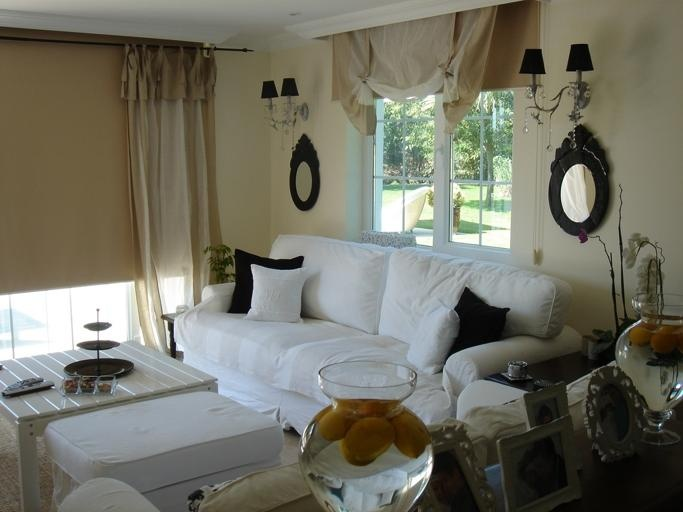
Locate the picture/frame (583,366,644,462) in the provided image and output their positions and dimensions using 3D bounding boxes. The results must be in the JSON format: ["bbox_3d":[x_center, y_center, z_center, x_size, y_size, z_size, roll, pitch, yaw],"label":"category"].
[{"bbox_3d":[0.821,0.481,1.647,0.232,0.258,0.016,-5,-9,-41],"label":"picture/frame"}]

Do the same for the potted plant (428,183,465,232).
[{"bbox_3d":[0.846,-0.404,4.521,0.115,0.385,0.402,-9,13,-27],"label":"potted plant"}]

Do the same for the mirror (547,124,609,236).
[{"bbox_3d":[1.474,-0.480,3.490,0.068,0.654,0.365,-3,11,-37],"label":"mirror"}]

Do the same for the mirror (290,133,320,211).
[{"bbox_3d":[-0.378,-0.828,5.520,0.039,0.801,0.512,5,9,32],"label":"mirror"}]

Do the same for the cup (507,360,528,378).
[{"bbox_3d":[0.924,0.587,2.878,0.078,0.066,0.083,1,3,0],"label":"cup"}]

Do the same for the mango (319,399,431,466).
[{"bbox_3d":[0.063,0.371,1.141,0.226,0.085,0.104,-4,12,-3],"label":"mango"}]

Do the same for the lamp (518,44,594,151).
[{"bbox_3d":[1.410,-1.045,3.550,0.338,0.726,0.607,-7,10,-43],"label":"lamp"}]

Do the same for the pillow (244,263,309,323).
[{"bbox_3d":[-0.546,0.329,4.453,0.469,0.504,0.186,4,-17,11],"label":"pillow"}]

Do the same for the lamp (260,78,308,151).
[{"bbox_3d":[-0.545,-1.411,5.493,0.322,0.712,0.481,-14,18,-39],"label":"lamp"}]

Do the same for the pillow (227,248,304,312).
[{"bbox_3d":[-0.606,0.156,4.825,0.763,0.644,0.434,2,6,23],"label":"pillow"}]

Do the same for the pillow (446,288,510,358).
[{"bbox_3d":[0.845,0.380,3.373,0.271,0.371,0.306,-4,13,-42],"label":"pillow"}]

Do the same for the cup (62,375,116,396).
[{"bbox_3d":[-1.475,0.759,3.218,0.223,0.077,0.147,-1,5,-6],"label":"cup"}]

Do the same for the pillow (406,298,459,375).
[{"bbox_3d":[0.571,0.506,3.477,0.235,0.414,0.467,-1,4,-9],"label":"pillow"}]

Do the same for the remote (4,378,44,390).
[{"bbox_3d":[-1.850,0.744,3.218,0.127,0.025,0.069,-5,7,-40],"label":"remote"}]

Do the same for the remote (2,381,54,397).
[{"bbox_3d":[-1.820,0.766,3.166,0.163,0.037,0.088,-6,9,-38],"label":"remote"}]

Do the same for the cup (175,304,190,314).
[{"bbox_3d":[-1.427,0.458,4.919,0.101,0.094,0.099,-1,4,0],"label":"cup"}]
